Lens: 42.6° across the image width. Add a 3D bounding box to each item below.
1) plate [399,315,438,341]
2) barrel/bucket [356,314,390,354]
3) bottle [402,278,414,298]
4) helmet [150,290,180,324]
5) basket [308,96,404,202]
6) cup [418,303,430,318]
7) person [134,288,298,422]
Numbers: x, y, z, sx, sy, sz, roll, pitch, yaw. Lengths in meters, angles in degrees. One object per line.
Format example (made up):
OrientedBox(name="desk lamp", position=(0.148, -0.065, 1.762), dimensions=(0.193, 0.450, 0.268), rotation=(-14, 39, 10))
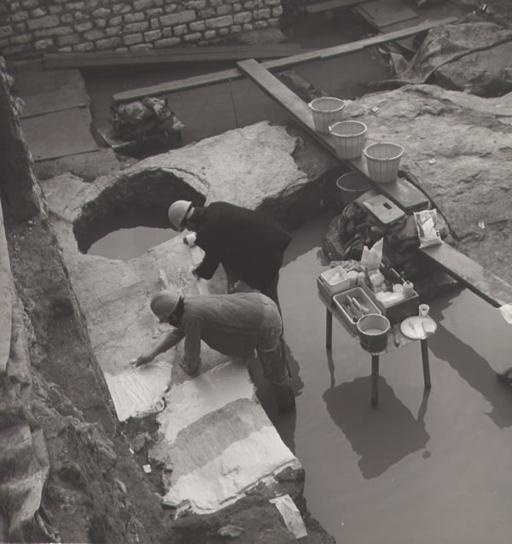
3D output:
OrientedBox(name="plate", position=(1.259, 0.451, 5.144), dimensions=(0.260, 0.083, 0.278), rotation=(5, 37, 14))
OrientedBox(name="barrel/bucket", position=(0.924, 0.465, 5.043), dimensions=(0.287, 0.227, 0.310), rotation=(-4, 34, 2))
OrientedBox(name="bottle", position=(1.216, 0.130, 5.210), dimensions=(0.069, 0.125, 0.119), rotation=(-3, 39, 2))
OrientedBox(name="helmet", position=(-0.640, 0.230, 4.654), dimensions=(0.170, 0.124, 0.210), rotation=(-48, 6, 5))
OrientedBox(name="basket", position=(0.980, -1.499, 7.026), dimensions=(0.513, 0.384, 1.733), rotation=(-25, 51, -11))
OrientedBox(name="cup", position=(1.366, 0.329, 5.299), dimensions=(0.105, 0.125, 0.126), rotation=(-1, 15, 5))
OrientedBox(name="person", position=(-0.308, 0.546, 5.172), dimensions=(1.230, 1.018, 0.557), rotation=(5, 29, -2))
